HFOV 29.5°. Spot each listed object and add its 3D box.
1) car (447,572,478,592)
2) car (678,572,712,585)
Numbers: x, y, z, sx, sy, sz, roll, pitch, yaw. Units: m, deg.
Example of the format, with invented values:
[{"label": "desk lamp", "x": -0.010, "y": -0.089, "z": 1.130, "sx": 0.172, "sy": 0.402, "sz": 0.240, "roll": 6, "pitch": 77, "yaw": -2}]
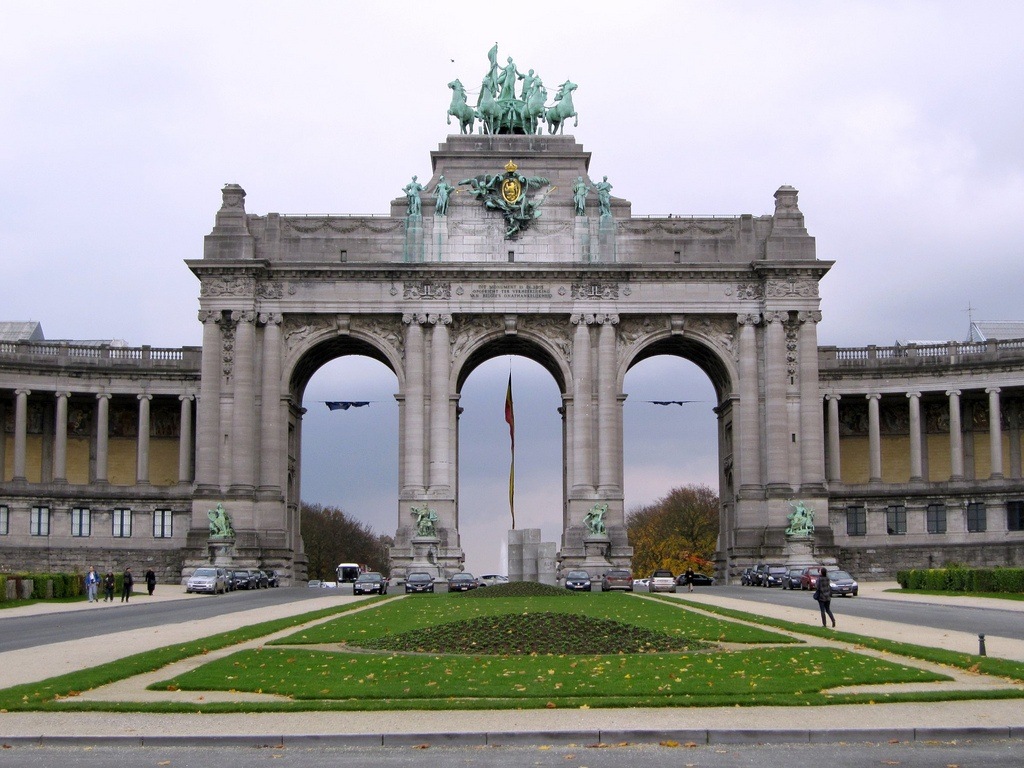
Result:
[{"label": "car", "x": -3.054, "y": 11.911, "z": 116.184, "sx": 1.546, "sy": 1.336, "sz": 8.004, "roll": 0, "pitch": -8, "yaw": -2}, {"label": "car", "x": 12.493, "y": 13.678, "z": 134.486, "sx": 2.437, "sy": 0.716, "sz": 1.450, "roll": 0, "pitch": -1, "yaw": -13}]
